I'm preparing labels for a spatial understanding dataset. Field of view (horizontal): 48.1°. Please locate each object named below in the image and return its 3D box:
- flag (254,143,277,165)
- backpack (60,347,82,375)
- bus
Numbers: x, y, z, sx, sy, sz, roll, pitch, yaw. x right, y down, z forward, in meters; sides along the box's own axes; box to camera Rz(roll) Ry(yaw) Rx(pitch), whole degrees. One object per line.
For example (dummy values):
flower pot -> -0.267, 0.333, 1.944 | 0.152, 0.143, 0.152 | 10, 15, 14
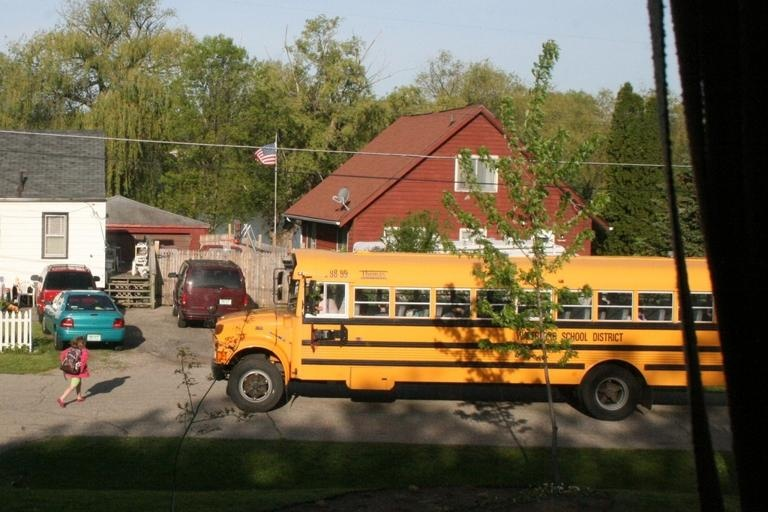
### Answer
flag -> -5.246, -4.580, 38.623 | 0.849, 0.857, 1.329 | 1, 7, -4
backpack -> -7.074, 2.367, 19.544 | 0.465, 0.563, 0.394 | 1, 7, -5
bus -> 1.252, 1.612, 20.308 | 12.962, 3.936, 4.160 | 2, 1, 1
